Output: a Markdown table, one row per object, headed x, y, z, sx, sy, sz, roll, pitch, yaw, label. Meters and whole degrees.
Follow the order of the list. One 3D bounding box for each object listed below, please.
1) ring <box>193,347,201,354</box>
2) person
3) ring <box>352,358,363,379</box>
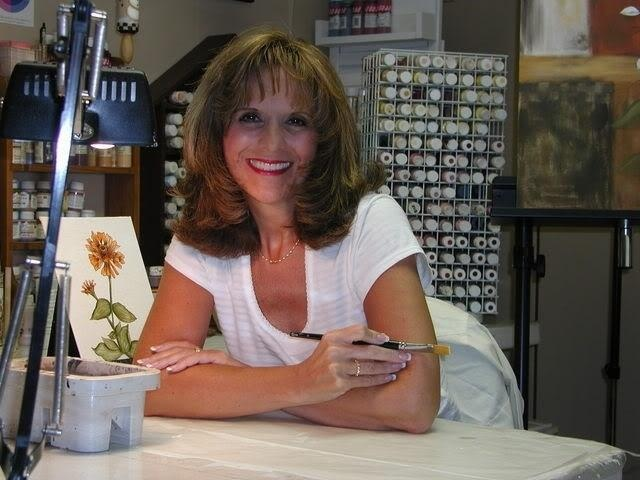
| x | y | z | sx | sy | sz | roll | pitch | yaw | label |
| --- | --- | --- | --- | --- | --- | --- | --- | --- | --- |
| -0.280 | 0.253 | 1.567 | 0.013 | 0.013 | 0.013 | 0 | 0 | 0 | ring |
| -0.051 | -0.010 | 1.654 | 0.756 | 0.970 | 0.584 | -5 | -9 | 21 | person |
| 0.076 | 0.263 | 1.393 | 0.018 | 0.036 | 0.005 | -2 | 2 | -26 | ring |
